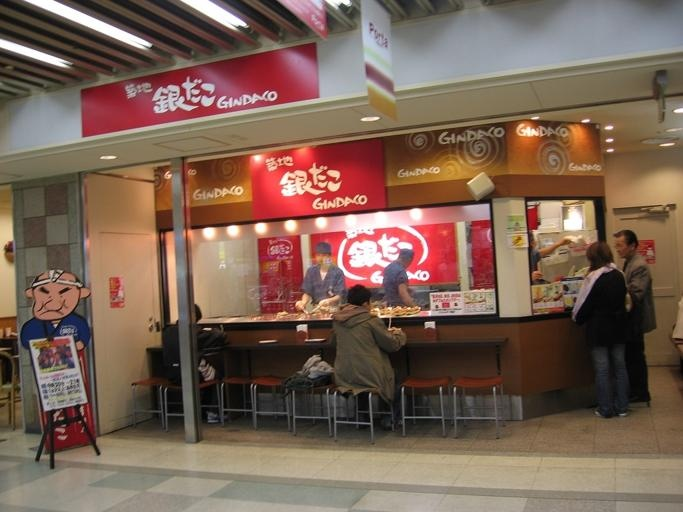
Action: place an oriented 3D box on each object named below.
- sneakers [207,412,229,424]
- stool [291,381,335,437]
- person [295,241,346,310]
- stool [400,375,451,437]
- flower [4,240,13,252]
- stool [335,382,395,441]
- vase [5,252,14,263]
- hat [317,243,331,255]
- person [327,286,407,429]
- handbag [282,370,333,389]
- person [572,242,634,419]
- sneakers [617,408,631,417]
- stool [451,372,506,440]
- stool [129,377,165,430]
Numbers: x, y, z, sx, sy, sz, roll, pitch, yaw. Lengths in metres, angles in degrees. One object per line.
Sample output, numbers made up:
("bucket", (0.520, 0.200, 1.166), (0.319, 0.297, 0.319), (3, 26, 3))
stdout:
("sneakers", (-1.696, 2.169, 7.572), (0.348, 0.123, 0.114), (-1, -5, 4))
("stool", (-0.377, 2.028, 7.340), (0.518, 0.485, 0.570), (4, -14, -5))
("person", (-0.328, 0.306, 7.744), (0.779, 0.867, 0.633), (-1, 7, 4))
("stool", (1.035, 1.813, 6.817), (0.732, 0.560, 0.784), (-3, -8, 5))
("flower", (-5.975, -0.180, 10.124), (0.116, 0.196, 0.314), (-2, -2, -39))
("stool", (0.192, 1.899, 7.007), (0.935, 0.686, 0.694), (0, -1, 15))
("vase", (-5.982, 0.006, 10.157), (0.180, 0.167, 0.067), (12, 10, -20))
("hat", (-0.249, -0.105, 7.698), (0.160, 0.170, 0.203), (8, 12, 36))
("person", (0.316, 1.189, 6.620), (0.833, 1.703, 0.519), (-4, -2, 1))
("handbag", (-0.381, 1.492, 6.809), (0.607, 0.188, 0.276), (-2, -2, -21))
("person", (3.125, 0.857, 6.779), (0.659, 1.699, 0.318), (-4, -3, 13))
("sneakers", (3.353, 1.862, 6.714), (0.078, 0.068, 0.199), (-6, -12, 22))
("stool", (1.614, 1.709, 6.702), (0.634, 0.482, 0.773), (-3, -2, 10))
("stool", (-2.494, 2.001, 7.771), (0.574, 0.591, 0.494), (-10, -10, 30))
